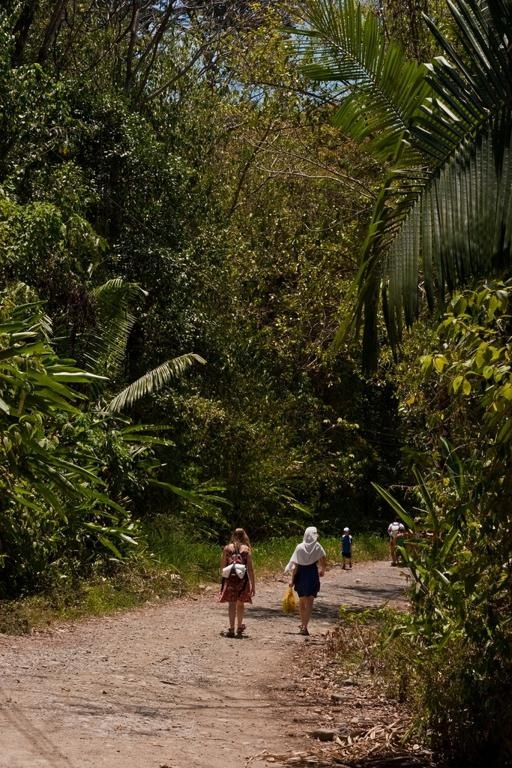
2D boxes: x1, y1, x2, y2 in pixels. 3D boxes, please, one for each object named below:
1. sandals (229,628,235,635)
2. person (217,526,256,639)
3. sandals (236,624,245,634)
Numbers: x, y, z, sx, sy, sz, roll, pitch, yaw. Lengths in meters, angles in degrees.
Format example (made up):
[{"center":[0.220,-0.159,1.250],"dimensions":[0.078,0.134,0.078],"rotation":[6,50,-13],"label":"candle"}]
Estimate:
[{"center":[-0.263,2.741,9.808],"dimensions":[0.067,0.074,0.125],"rotation":[-5,-2,0],"label":"sandals"},{"center":[-0.204,2.216,10.010],"dimensions":[0.350,1.246,0.343],"rotation":[5,12,7],"label":"person"},{"center":[-0.179,2.776,10.008],"dimensions":[0.048,0.113,0.152],"rotation":[5,-12,8],"label":"sandals"}]
